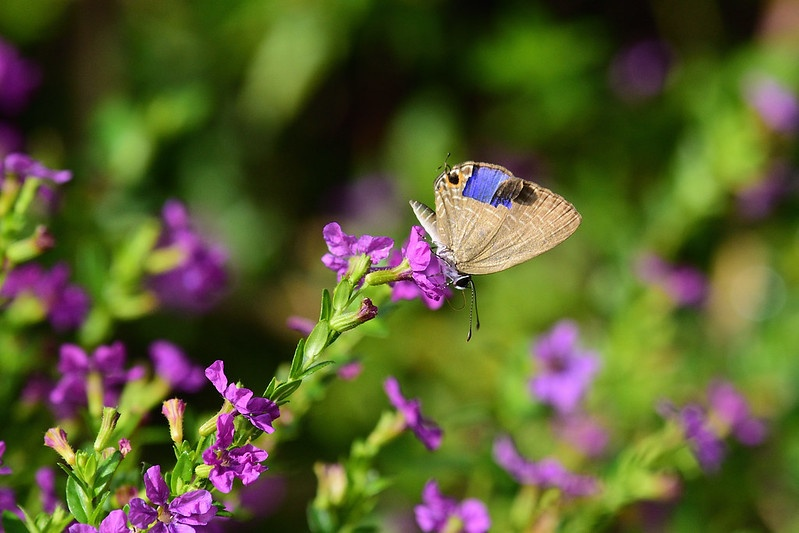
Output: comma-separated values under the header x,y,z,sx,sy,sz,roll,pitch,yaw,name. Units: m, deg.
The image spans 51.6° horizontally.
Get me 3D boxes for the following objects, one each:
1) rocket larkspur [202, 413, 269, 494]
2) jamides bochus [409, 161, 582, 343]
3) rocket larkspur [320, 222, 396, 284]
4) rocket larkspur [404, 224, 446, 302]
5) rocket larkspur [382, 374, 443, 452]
x,y,z,sx,sy,sz,roll,pitch,yaw,name
-0.503,0.576,2.621,0.226,0.233,0.109,-49,17,-20,rocket larkspur
0.356,-0.110,3.362,0.587,0.843,0.507,-6,9,-3,jamides bochus
-0.143,-0.068,2.771,0.224,0.174,0.110,-12,22,-19,rocket larkspur
0.094,0.003,2.894,0.115,0.310,0.126,-4,9,-23,rocket larkspur
0.047,0.531,3.000,0.108,0.193,0.311,-15,24,-27,rocket larkspur
